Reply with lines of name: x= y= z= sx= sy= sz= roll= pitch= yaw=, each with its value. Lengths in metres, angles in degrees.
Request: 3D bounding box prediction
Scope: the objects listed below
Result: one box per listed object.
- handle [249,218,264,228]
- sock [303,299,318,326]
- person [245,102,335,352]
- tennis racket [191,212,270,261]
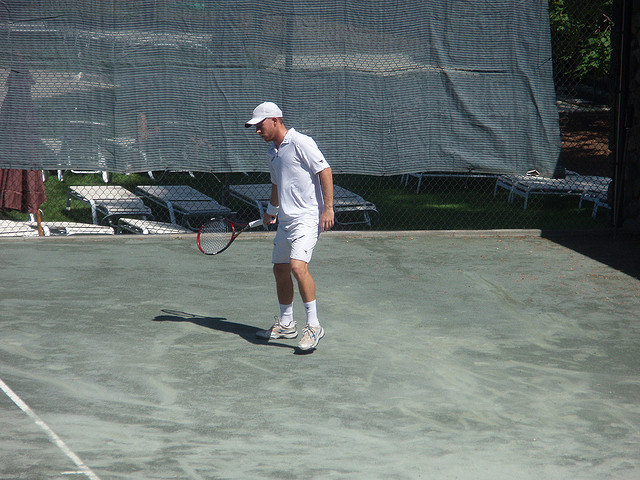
handle: x=-0.778 y=-0.213 z=11.415 sx=0.181 sy=0.057 sz=0.238 roll=-9 pitch=-1 yaw=-17
sock: x=-0.082 y=0.729 z=9.343 sx=0.130 sy=0.346 sz=0.294 roll=1 pitch=14 yaw=0
person: x=-0.281 y=-0.125 z=9.217 sx=0.775 sy=2.434 sz=0.461 roll=8 pitch=17 yaw=25
tennis racket: x=-0.875 y=-0.156 z=10.424 sx=1.168 sy=0.408 sz=0.095 roll=-20 pitch=26 yaw=-31
